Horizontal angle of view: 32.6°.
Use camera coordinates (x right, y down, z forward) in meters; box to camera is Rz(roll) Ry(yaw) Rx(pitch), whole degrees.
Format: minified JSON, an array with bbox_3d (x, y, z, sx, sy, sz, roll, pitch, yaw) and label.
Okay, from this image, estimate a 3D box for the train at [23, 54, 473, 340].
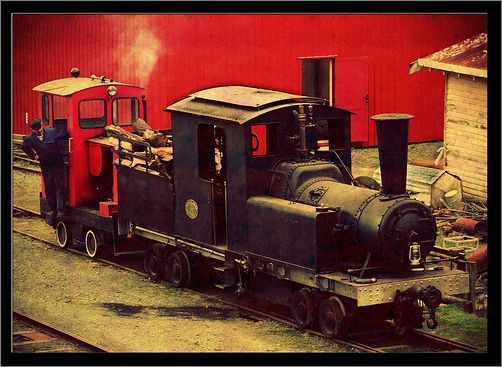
[{"bbox_3d":[-0.570,-0.182,17.863,3.842,3.794,10.927,-9,15,-38],"label":"train"}]
